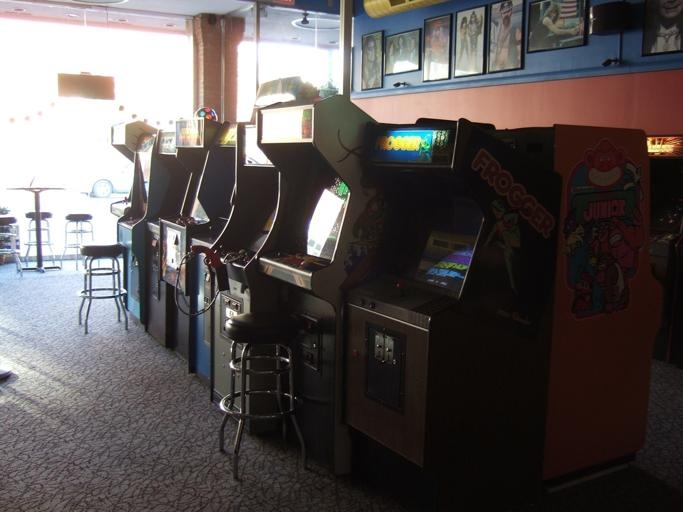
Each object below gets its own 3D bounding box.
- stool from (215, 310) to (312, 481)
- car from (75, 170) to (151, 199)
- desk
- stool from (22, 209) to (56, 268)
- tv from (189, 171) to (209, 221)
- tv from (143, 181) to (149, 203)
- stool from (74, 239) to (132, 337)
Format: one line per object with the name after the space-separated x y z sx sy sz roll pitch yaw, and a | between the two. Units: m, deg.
-0.520 0.783 3.259 0.503 0.888 0.705 -3 12 -16 | stool
-5.879 -1.786 13.155 1.175 0.627 1.725 -6 13 -26 | car
-4.600 -0.438 7.934 0.818 1.276 0.553 9 14 38 | desk
-4.830 -0.323 8.430 0.426 0.827 0.464 -7 0 37 | stool
-1.253 -0.501 4.557 0.084 0.352 0.353 7 0 -33 | tv
-2.003 -0.656 5.386 0.046 0.229 0.542 -4 13 -21 | tv
-2.524 0.317 5.546 0.500 0.893 0.488 -2 5 -38 | stool
